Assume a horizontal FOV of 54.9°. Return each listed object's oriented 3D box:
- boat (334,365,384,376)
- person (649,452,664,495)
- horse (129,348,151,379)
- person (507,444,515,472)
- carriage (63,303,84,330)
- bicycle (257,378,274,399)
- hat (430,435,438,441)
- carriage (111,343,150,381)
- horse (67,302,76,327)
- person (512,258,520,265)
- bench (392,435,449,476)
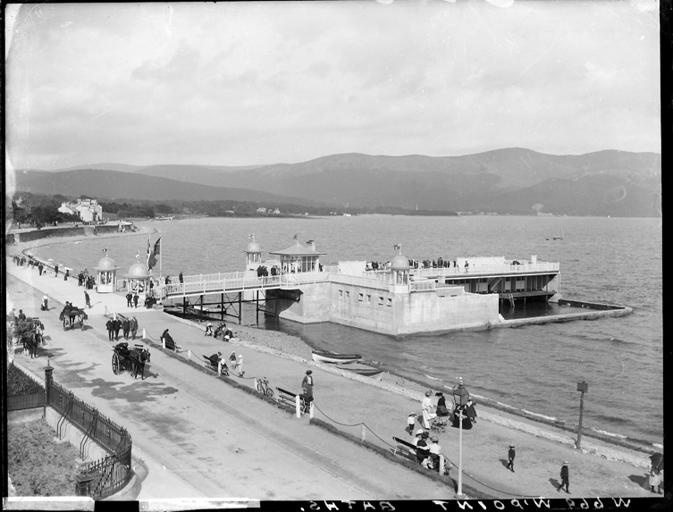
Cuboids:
[{"bbox_3d":[1.322,7.040,39.329,2.761,0.567,1.023,5,13,14],"label":"boat"},{"bbox_3d":[11.484,7.854,23.277,0.406,1.105,1.403,7,5,24],"label":"person"},{"bbox_3d":[-9.156,5.008,29.786,1.967,1.186,0.601,-15,-29,40],"label":"horse"},{"bbox_3d":[6.521,7.436,24.068,0.280,0.648,0.990,7,5,15],"label":"person"},{"bbox_3d":[-15.420,3.591,38.050,1.325,1.463,1.044,2,-2,32],"label":"carriage"},{"bbox_3d":[-3.281,6.094,29.801,0.496,0.668,1.017,-2,11,-27],"label":"bicycle"},{"bbox_3d":[3.623,6.747,23.811,0.221,0.236,0.215,-1,0,-17],"label":"hat"},{"bbox_3d":[-9.624,4.845,29.973,1.735,1.097,0.993,6,-9,-18],"label":"carriage"},{"bbox_3d":[-15.396,3.442,37.718,0.388,1.304,1.209,3,5,-22],"label":"horse"},{"bbox_3d":[19.887,0.718,71.663,0.790,0.316,2.759,8,5,16],"label":"person"},{"bbox_3d":[2.958,7.039,23.455,2.180,1.160,0.622,21,-7,-13],"label":"bench"}]
